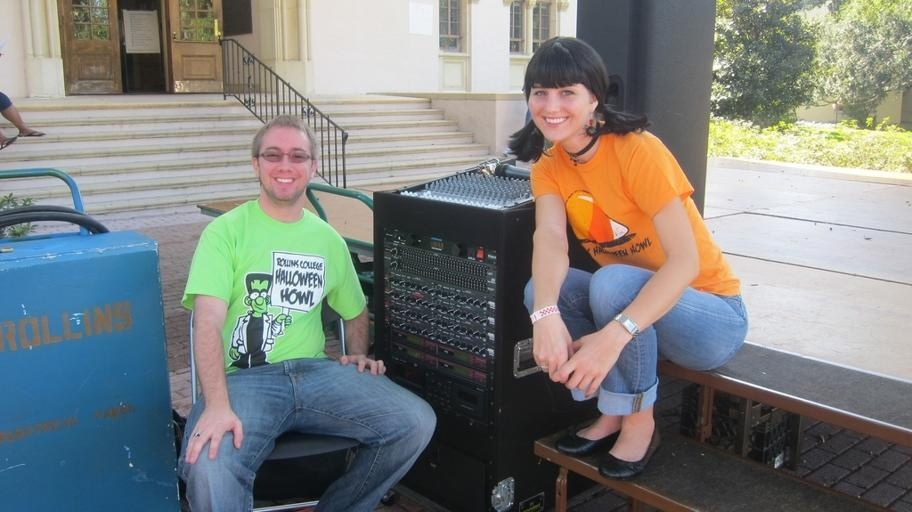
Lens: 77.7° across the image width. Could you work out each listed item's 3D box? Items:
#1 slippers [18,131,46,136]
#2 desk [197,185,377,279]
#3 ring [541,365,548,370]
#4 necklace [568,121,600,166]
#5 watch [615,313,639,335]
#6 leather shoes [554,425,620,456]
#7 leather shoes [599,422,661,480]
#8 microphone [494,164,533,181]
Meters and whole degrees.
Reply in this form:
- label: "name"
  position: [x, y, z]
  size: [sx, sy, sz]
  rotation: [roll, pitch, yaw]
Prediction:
- label: "slippers"
  position: [-7.049, -2.041, 9.445]
  size: [0.355, 0.077, 0.151]
  rotation: [-7, 20, -20]
- label: "desk"
  position: [-0.956, -0.143, 3.419]
  size: [0.521, 0.718, 0.846]
  rotation: [-5, 14, -36]
- label: "ring"
  position: [0.399, 0.504, 2.583]
  size: [0.039, 0.014, 0.037]
  rotation: [-1, 11, 0]
- label: "necklace"
  position: [0.607, -0.539, 2.683]
  size: [0.137, 0.167, 0.060]
  rotation: [21, 9, 42]
- label: "watch"
  position: [0.736, 0.294, 2.451]
  size: [0.037, 0.069, 0.065]
  rotation: [-49, 25, -1]
- label: "leather shoes"
  position: [0.622, 0.882, 2.730]
  size: [0.243, 0.058, 0.118]
  rotation: [-8, 15, -17]
- label: "leather shoes"
  position: [0.824, 0.904, 2.657]
  size: [0.386, 0.123, 0.176]
  rotation: [-24, 32, -36]
- label: "microphone"
  position: [0.348, -0.532, 3.517]
  size: [0.242, 0.085, 0.099]
  rotation: [10, 1, 22]
